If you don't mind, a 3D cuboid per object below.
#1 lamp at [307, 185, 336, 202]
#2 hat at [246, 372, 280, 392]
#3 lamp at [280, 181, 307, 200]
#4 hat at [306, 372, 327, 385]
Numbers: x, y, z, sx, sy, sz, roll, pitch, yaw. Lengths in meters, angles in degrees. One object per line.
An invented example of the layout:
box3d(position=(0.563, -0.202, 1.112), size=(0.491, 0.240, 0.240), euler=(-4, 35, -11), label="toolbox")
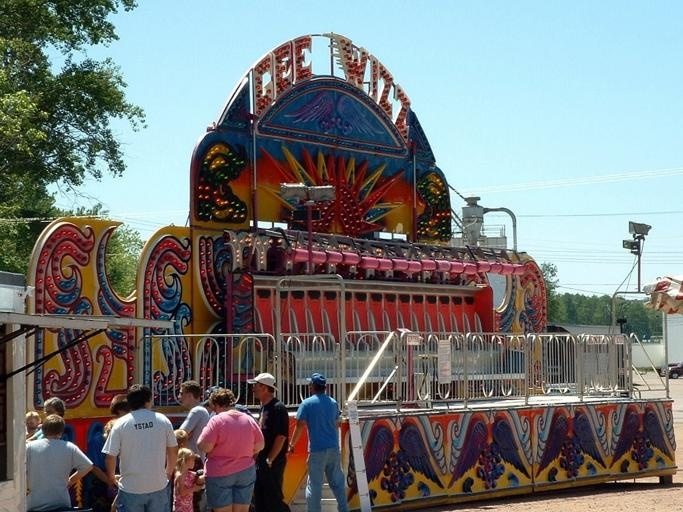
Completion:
box3d(position=(-0.436, -1.234, 27.515), size=(0.763, 0.327, 0.295), euler=(6, -7, -40), label="lamp")
box3d(position=(-1.274, 1.972, 22.436), size=(0.448, 0.274, 0.320), euler=(6, -7, 2), label="hat")
box3d(position=(-0.947, -1.279, 27.404), size=(0.495, 0.374, 0.749), euler=(2, -5, -5), label="lamp")
box3d(position=(-0.427, 2.016, 23.141), size=(0.250, 0.122, 0.193), euler=(5, 6, 27), label="hat")
